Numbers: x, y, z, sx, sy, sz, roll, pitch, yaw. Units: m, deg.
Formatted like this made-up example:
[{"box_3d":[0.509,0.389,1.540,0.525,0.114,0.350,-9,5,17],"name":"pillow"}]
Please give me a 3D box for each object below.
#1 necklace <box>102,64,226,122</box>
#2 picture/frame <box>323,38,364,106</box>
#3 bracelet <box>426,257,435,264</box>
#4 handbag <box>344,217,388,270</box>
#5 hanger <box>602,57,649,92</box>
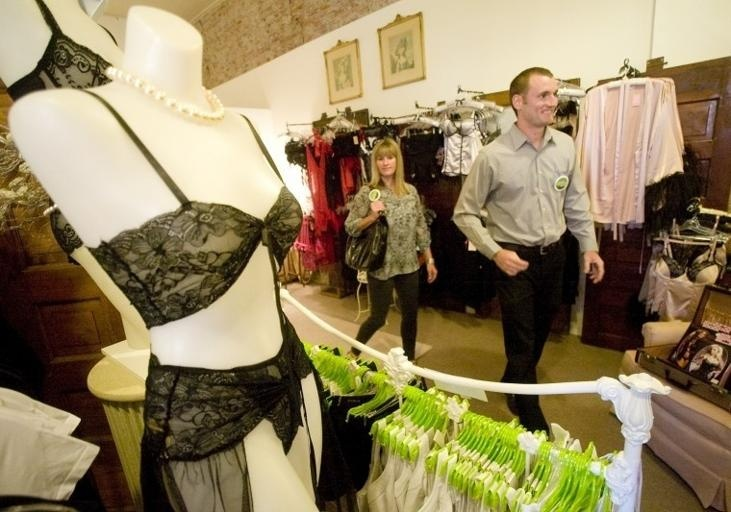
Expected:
[{"box_3d":[-0.666,-0.498,1.590,0.303,0.062,0.246,24,7,-45],"name":"necklace"},{"box_3d":[-0.211,-1.876,4.751,0.053,0.723,0.651,-30,26,-35],"name":"picture/frame"},{"box_3d":[0.488,0.028,3.568,0.052,0.037,0.053,0,9,17],"name":"bracelet"},{"box_3d":[-0.042,-0.102,3.266,0.175,0.425,0.320,13,2,29],"name":"handbag"},{"box_3d":[1.805,-1.264,3.245,0.212,0.094,0.206,-20,30,-20],"name":"hanger"}]
